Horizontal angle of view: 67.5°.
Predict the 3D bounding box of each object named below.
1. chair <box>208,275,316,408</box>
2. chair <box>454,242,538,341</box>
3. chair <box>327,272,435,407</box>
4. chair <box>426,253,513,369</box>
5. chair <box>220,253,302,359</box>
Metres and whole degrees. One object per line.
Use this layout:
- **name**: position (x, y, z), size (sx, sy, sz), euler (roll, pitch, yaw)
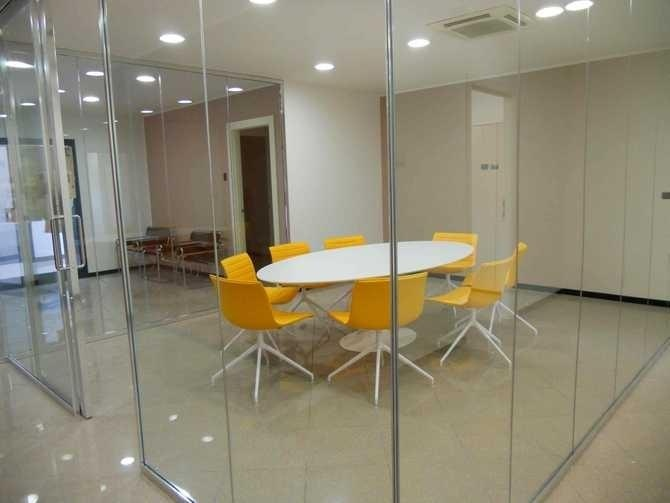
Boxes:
- **chair**: position (-0.315, 0.322, 2.162), size (0.333, 0.465, 0.376), euler (5, 7, 26)
- **chair**: position (0.671, 0.144, 2.144), size (0.331, 0.469, 0.359), euler (-1, 9, 6)
- **chair**: position (0.177, 0.278, 1.966), size (0.333, 0.443, 0.343), euler (-8, 14, -28)
- **chair**: position (0.530, 0.203, 1.950), size (0.287, 0.331, 0.290), euler (1, -1, 10)
- **chair**: position (-0.383, 0.293, 2.152), size (0.293, 0.406, 0.315), euler (-3, 7, -20)
